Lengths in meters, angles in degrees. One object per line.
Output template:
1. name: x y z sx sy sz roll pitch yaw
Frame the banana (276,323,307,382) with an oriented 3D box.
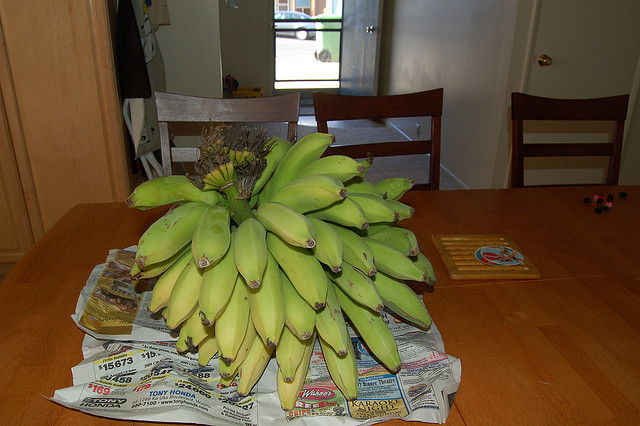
1. banana: -0.056 0.292 0.949 0.044 0.049 0.136 17 63 -19

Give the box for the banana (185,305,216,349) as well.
1. banana: -0.250 0.244 0.928 0.054 0.034 0.098 21 49 -3

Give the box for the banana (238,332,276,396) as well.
1. banana: -0.139 0.323 0.934 0.045 0.051 0.152 30 71 1

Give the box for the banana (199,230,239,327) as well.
1. banana: -0.217 0.159 0.922 0.066 0.071 0.222 -7 34 -1

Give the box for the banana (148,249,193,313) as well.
1. banana: -0.324 0.145 0.950 0.040 0.140 0.045 29 -12 16

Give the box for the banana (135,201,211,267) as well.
1. banana: -0.301 0.029 0.988 0.218 0.070 0.072 -35 82 -24

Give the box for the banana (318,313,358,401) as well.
1. banana: 0.045 0.312 0.975 0.056 0.188 0.055 -17 -1 -16

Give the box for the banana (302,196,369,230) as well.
1. banana: 0.009 0.010 1.024 0.204 0.059 0.076 1 51 23

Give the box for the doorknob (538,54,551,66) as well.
1. doorknob: 1.620 -1.098 3.143 0.071 0.076 0.055 -2 0 -12

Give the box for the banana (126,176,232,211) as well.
1. banana: -0.333 -0.042 1.022 0.281 0.087 0.077 1 -15 -3

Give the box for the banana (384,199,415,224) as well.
1. banana: 0.188 -0.002 1.046 0.074 0.025 0.043 14 48 19

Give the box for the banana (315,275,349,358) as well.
1. banana: 0.025 0.218 0.950 0.045 0.170 0.061 -15 -5 1

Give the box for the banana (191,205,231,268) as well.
1. banana: -0.238 0.050 0.938 0.095 0.069 0.190 7 31 -10

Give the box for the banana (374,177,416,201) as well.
1. banana: 0.190 -0.060 1.088 0.091 0.048 0.035 -7 -10 9

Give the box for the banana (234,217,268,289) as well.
1. banana: -0.147 0.076 0.915 0.078 0.062 0.174 1 49 -13

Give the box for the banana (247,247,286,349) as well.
1. banana: -0.108 0.179 0.937 0.061 0.204 0.074 -10 -15 12

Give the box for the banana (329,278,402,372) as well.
1. banana: 0.085 0.265 1.013 0.077 0.074 0.272 -17 40 -35

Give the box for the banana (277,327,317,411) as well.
1. banana: -0.044 0.344 0.973 0.057 0.210 0.062 14 -8 12

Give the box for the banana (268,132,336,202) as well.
1. banana: -0.043 -0.099 0.999 0.058 0.200 0.073 49 7 22

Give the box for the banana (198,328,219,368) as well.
1. banana: -0.245 0.306 0.993 0.037 0.105 0.035 19 13 -19

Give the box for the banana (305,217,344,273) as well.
1. banana: -0.002 0.065 0.942 0.048 0.044 0.133 16 36 -38

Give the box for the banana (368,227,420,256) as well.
1. banana: 0.190 0.065 1.039 0.160 0.044 0.060 12 -15 34

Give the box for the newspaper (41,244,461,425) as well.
1. newspaper: -0.164 0.249 0.887 0.612 0.048 0.408 3 38 -2

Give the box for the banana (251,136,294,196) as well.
1. banana: -0.113 -0.101 1.002 0.034 0.052 0.145 30 61 5

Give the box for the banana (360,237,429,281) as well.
1. banana: 0.173 0.112 0.983 0.178 0.061 0.054 27 61 8

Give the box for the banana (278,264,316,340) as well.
1. banana: -0.047 0.184 0.930 0.050 0.045 0.154 -5 63 -51

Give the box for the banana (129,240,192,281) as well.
1. banana: -0.346 0.105 0.956 0.153 0.037 0.052 -28 65 7

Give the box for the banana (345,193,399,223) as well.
1. banana: 0.124 -0.015 1.016 0.055 0.059 0.163 1 10 -37

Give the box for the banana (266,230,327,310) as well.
1. banana: -0.040 0.097 0.970 0.065 0.074 0.220 -26 69 -16
